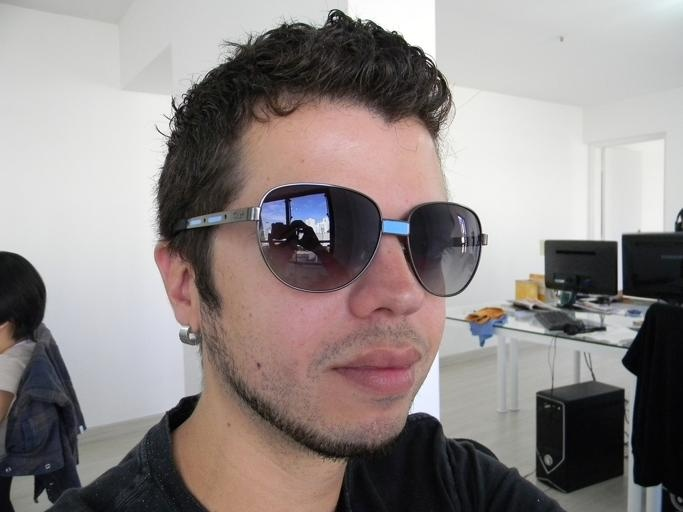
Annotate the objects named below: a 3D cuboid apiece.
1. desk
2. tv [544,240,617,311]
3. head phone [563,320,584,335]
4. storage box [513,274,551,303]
[{"bbox_3d":[1.673,1.574,4.987,1.066,1.085,2.044,-1,0,-18],"label":"desk"},{"bbox_3d":[1.975,0.149,4.305,0.196,0.419,0.456,-11,14,-36],"label":"tv"},{"bbox_3d":[1.580,0.479,3.546,0.134,0.058,0.318,-1,2,33],"label":"head phone"},{"bbox_3d":[1.768,0.215,4.859,0.200,0.279,0.389,-1,2,-7],"label":"storage box"}]
